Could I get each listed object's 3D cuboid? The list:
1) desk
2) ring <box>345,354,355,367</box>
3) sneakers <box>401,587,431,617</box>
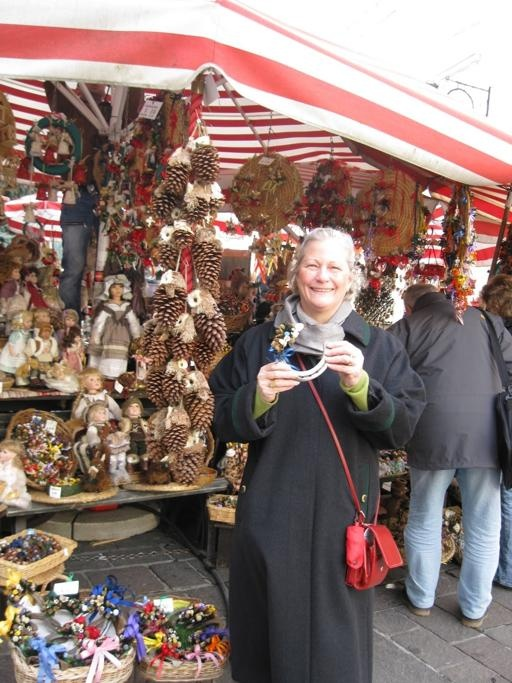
[{"bbox_3d":[-0.824,0.884,3.671,1.474,0.761,1.348,2,-3,-29],"label":"desk"},{"bbox_3d":[0.247,0.051,1.502,0.028,0.031,0.012,-3,2,13],"label":"ring"},{"bbox_3d":[0.929,1.535,3.332,0.068,0.069,0.177,-1,8,-21],"label":"sneakers"}]
